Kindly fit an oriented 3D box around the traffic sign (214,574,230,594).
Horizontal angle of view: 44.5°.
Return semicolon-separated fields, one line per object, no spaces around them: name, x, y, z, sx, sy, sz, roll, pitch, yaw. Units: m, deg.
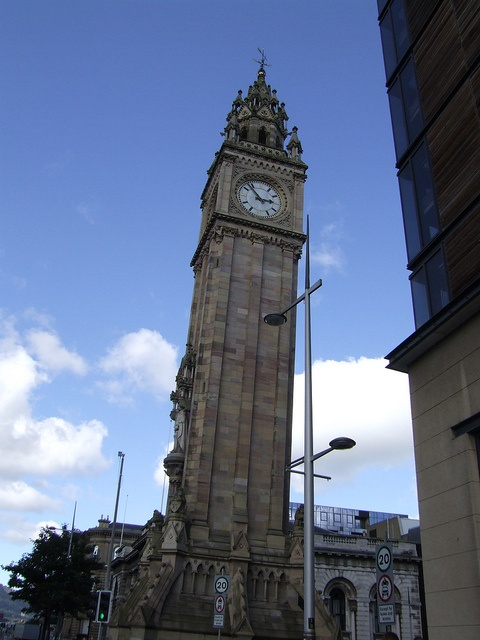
traffic sign;-0.614;8.923;19.782;0.432;0.599;0.994;5;-26;-3
